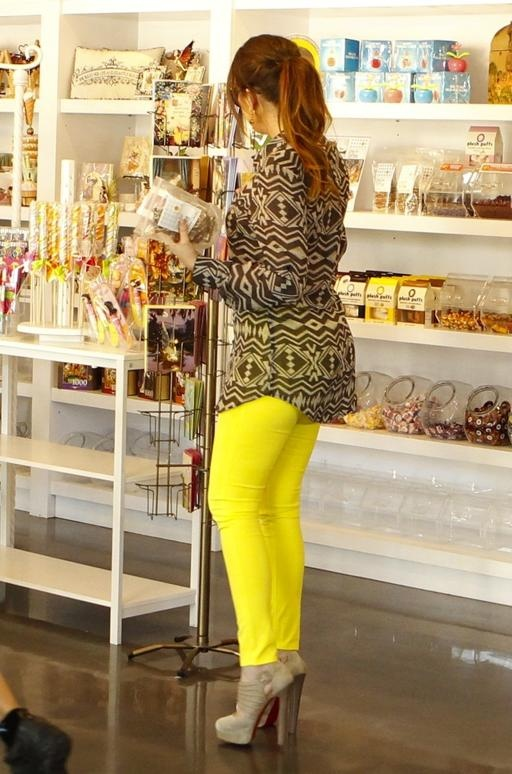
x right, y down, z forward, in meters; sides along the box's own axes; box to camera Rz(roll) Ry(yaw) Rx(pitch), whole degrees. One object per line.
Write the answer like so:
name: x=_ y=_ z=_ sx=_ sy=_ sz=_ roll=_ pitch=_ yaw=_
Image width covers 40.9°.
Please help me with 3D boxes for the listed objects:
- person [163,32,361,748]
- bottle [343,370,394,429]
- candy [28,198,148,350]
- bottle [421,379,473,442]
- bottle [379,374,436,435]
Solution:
person: x=0.006 y=0.053 z=1.399 sx=0.366 sy=1.459 sz=0.440 roll=2 pitch=-1 yaw=11
bottle: x=0.520 y=0.039 z=3.014 sx=0.197 sy=0.184 sz=0.191 roll=22 pitch=-12 yaw=-12
candy: x=-0.515 y=-0.331 z=2.093 sx=0.482 sy=0.518 sz=0.243 roll=3 pitch=3 yaw=23
bottle: x=0.739 y=0.084 z=2.680 sx=0.234 sy=0.228 sz=0.167 roll=7 pitch=-9 yaw=-41
bottle: x=0.673 y=0.048 z=2.846 sx=0.220 sy=0.211 sz=0.182 roll=-17 pitch=12 yaw=-14
